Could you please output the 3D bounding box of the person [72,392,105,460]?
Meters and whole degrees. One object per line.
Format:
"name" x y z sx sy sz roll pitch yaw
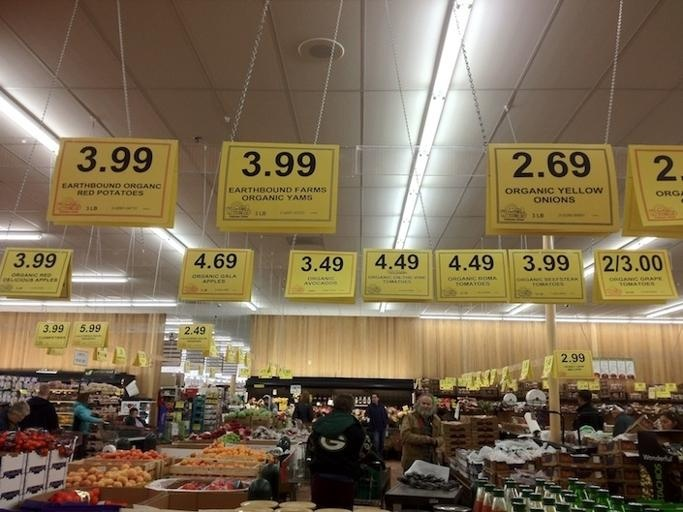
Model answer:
"person" -5.856 3.880 9.724 0.606 1.486 0.530 3 -1 30

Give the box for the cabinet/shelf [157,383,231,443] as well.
"cabinet/shelf" -4.888 4.918 13.797 2.071 1.368 4.704 4 -17 -16

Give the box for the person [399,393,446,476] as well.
"person" 1.213 2.682 6.617 0.722 1.060 0.595 2 -16 -7

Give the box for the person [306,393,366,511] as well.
"person" -0.064 1.984 4.400 0.596 1.070 0.423 0 -16 -2

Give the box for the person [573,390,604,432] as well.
"person" 4.201 2.715 7.434 0.480 0.720 0.449 4 -5 -32
